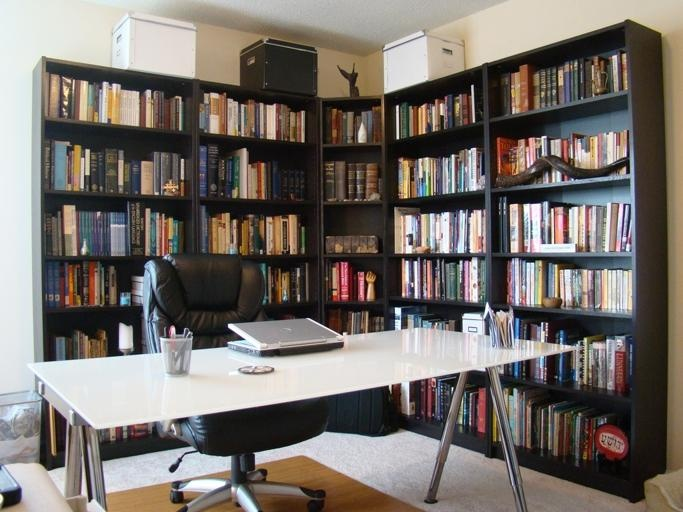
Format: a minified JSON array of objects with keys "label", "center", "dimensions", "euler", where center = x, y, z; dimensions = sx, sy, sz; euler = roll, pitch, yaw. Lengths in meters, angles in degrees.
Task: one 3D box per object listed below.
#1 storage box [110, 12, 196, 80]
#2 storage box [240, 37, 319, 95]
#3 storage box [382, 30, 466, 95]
[{"label":"storage box","center":[-1.193,-1.365,3.889],"dimensions":[0.423,0.335,0.424],"euler":[0,3,-36]},{"label":"storage box","center":[-0.472,-1.387,4.517],"dimensions":[0.512,0.357,0.504],"euler":[-2,9,-27]},{"label":"storage box","center":[0.619,-1.393,4.419],"dimensions":[0.549,0.333,0.562],"euler":[-3,2,29]}]
